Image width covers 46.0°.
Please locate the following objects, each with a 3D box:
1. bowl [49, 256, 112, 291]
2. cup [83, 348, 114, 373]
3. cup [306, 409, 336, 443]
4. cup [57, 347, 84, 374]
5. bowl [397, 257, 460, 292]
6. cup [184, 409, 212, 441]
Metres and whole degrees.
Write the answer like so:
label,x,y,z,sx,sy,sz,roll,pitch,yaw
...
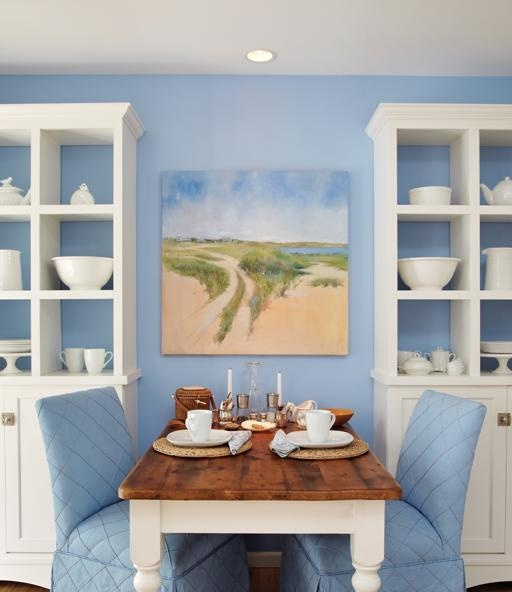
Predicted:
label,x,y,z,sx,sy,sz,roll,pitch,yaw
bowl,-0.791,-0.084,2.734,0.201,0.089,0.196,-1,-2,0
cup,-0.755,0.298,2.858,0.117,0.113,0.162,-4,-5,43
cup,0.208,0.437,2.123,0.141,0.130,0.105,0,-1,-2
cup,-0.911,0.301,2.917,0.102,0.131,0.149,0,-3,-6
bowl,0.789,-0.111,2.811,0.203,0.087,0.193,-1,-4,0
cup,-0.196,0.449,2.127,0.080,0.106,0.123,3,6,19
